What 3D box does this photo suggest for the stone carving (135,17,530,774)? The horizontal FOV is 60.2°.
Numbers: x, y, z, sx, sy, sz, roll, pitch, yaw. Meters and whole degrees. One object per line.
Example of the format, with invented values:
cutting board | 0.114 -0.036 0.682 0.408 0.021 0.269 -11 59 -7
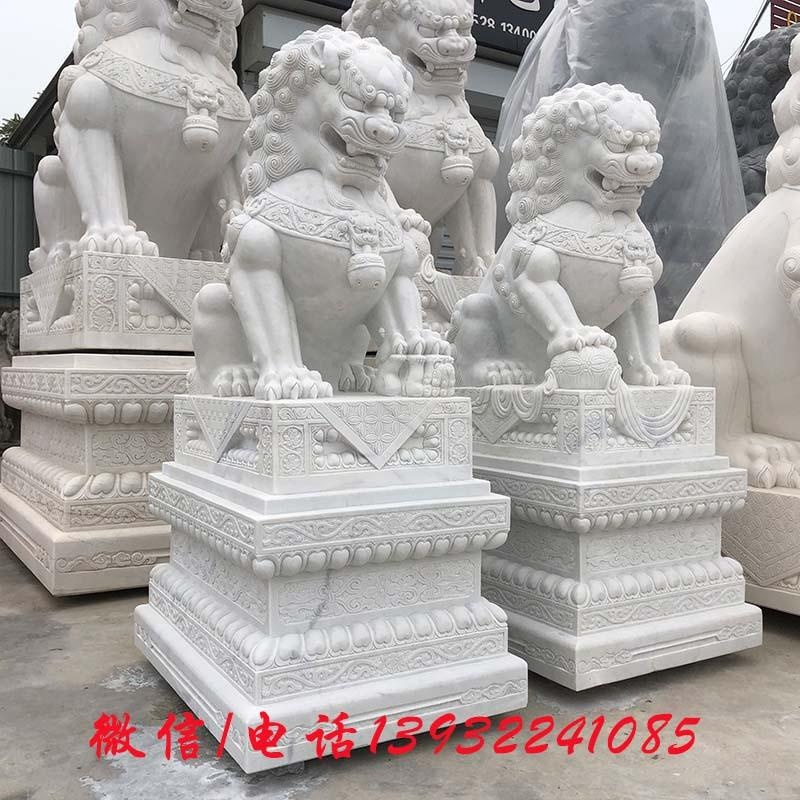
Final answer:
stone carving | -0.199 -0.093 1.869 0.783 1.746 0.846 0 -1 -29
